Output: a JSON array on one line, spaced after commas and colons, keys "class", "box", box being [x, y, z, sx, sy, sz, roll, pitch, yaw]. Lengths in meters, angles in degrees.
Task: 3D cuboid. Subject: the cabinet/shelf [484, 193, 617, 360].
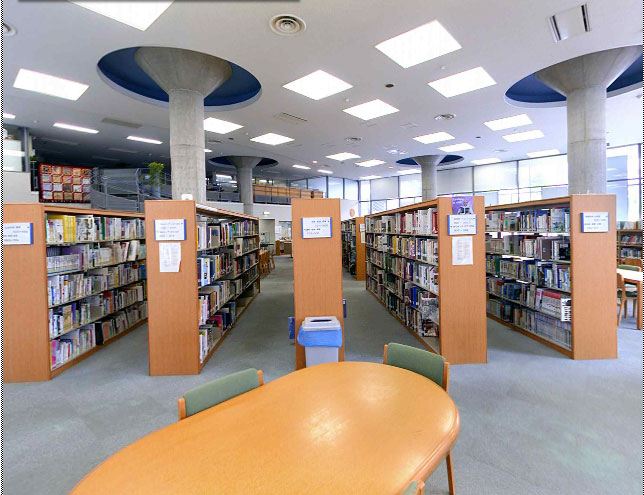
[{"class": "cabinet/shelf", "box": [3.703, 0.522, 7.321, 0.810, 2.316, 2.626, 0, -1, 3]}]

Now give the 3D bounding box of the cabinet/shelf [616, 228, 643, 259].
[{"class": "cabinet/shelf", "box": [7.701, -0.095, 11.423, 0.263, 0.803, 0.815, 0, -1, -6]}]

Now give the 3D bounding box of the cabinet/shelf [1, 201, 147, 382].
[{"class": "cabinet/shelf", "box": [-3.849, 0.743, 7.030, 0.427, 1.654, 2.630, -2, 2, -6]}]

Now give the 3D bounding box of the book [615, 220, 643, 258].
[{"class": "book", "box": [7.845, -0.175, 11.666, 0.310, 0.933, 0.999, 0, -1, 6]}]

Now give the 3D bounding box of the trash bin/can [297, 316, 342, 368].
[{"class": "trash bin/can", "box": [-0.016, 1.268, 6.405, 0.655, 0.824, 0.612, 0, -2, -4]}]
